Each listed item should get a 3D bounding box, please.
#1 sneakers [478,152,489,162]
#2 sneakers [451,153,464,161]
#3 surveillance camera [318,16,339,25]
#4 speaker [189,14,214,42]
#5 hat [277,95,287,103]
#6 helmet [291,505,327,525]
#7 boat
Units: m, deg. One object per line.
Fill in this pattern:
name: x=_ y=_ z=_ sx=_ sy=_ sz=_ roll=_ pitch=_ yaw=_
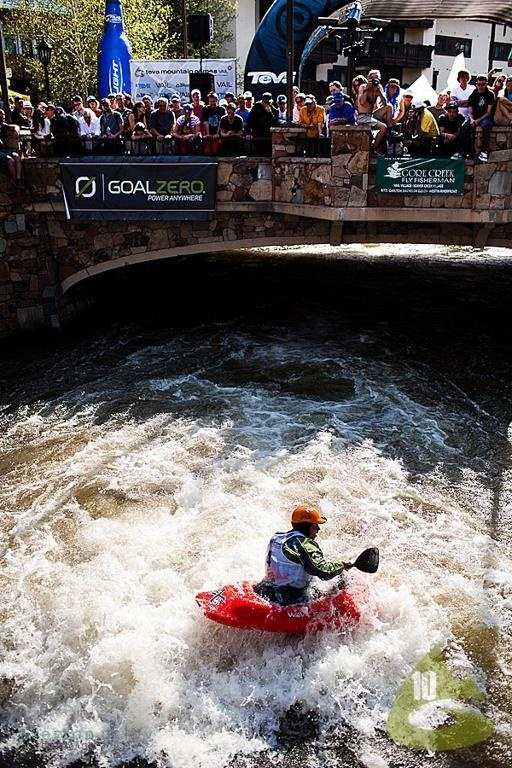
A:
sneakers: x=3.505 y=-3.517 z=9.030 sx=0.065 sy=0.084 sz=0.189 roll=-6 pitch=34 yaw=-8
sneakers: x=3.162 y=-3.588 z=9.210 sx=0.214 sy=0.099 sz=0.078 roll=-1 pitch=28 yaw=-14
surveillance camera: x=1.678 y=-8.514 z=13.688 sx=0.565 sy=0.247 sz=0.439 roll=5 pitch=36 yaw=7
speaker: x=-1.235 y=-7.867 z=12.946 sx=0.432 sy=0.619 sz=1.077 roll=-3 pitch=20 yaw=-10
hat: x=0.547 y=-6.057 z=12.413 sx=0.223 sy=0.132 sz=0.372 roll=1 pitch=-4 yaw=2
helmet: x=0.416 y=1.079 z=4.723 sx=0.255 sy=0.143 sz=0.172 roll=0 pitch=9 yaw=7
boat: x=0.182 y=1.853 z=4.805 sx=1.027 sy=0.272 sz=0.512 roll=0 pitch=-7 yaw=-3
